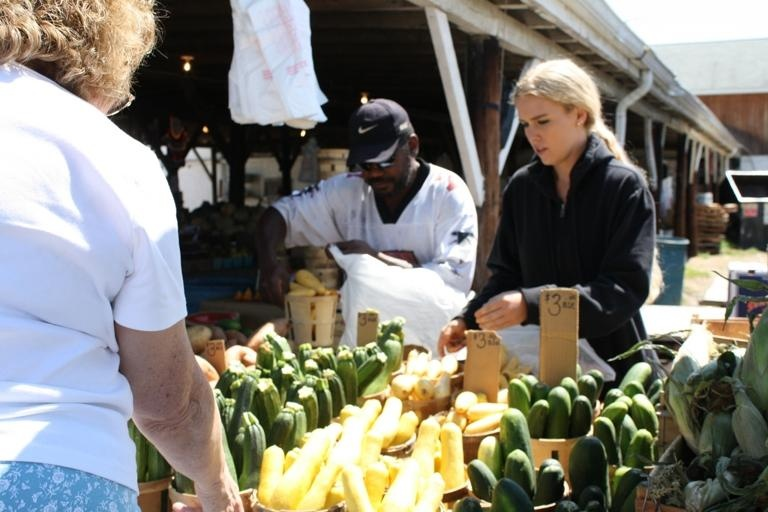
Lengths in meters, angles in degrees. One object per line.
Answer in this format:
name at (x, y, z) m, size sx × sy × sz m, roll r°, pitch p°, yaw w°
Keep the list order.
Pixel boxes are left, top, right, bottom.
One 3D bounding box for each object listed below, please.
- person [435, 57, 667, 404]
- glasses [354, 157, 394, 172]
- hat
person at (0.765, -0.052, 3.526) m, size 0.900 × 1.546 × 0.850 m, roll -2°, pitch 6°, yaw -29°
glasses at (-0.048, -0.529, 4.328) m, size 0.196 × 0.089 × 0.120 m, roll -3°, pitch -1°, yaw 10°
hat at (-0.031, -0.740, 4.427) m, size 0.258 × 0.245 × 0.429 m, roll -2°, pitch 33°, yaw 33°
